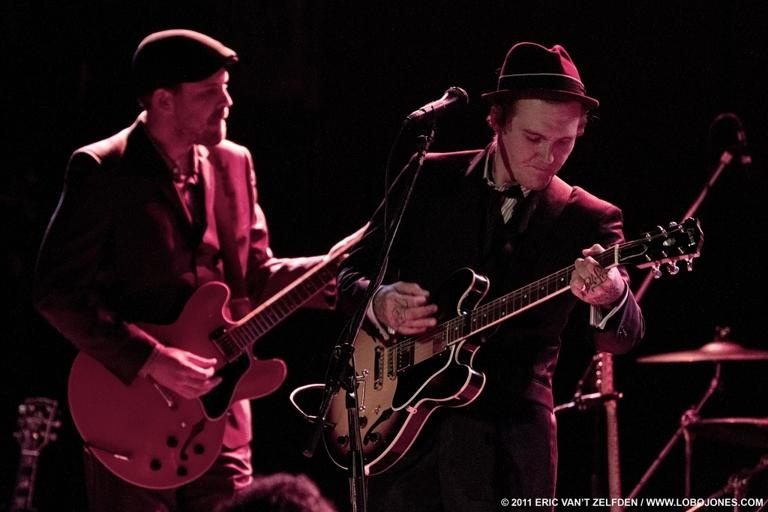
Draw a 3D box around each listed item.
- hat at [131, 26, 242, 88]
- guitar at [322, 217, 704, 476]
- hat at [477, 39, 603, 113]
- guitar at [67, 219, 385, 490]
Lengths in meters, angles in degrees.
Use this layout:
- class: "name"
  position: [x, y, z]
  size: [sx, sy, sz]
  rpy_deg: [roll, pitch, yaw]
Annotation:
- class: "hat"
  position: [-1.126, -1.119, 5.098]
  size: [0.453, 0.250, 0.344]
  rpy_deg: [-2, 4, -6]
- class: "guitar"
  position: [0.385, 0.509, 4.587]
  size: [2.398, 1.021, 0.281]
  rpy_deg: [-30, -25, 30]
- class: "hat"
  position: [0.832, -0.937, 4.702]
  size: [0.372, 0.214, 0.452]
  rpy_deg: [13, -11, -37]
- class: "guitar"
  position: [-0.803, 0.414, 5.495]
  size: [2.448, 0.960, 0.244]
  rpy_deg: [-40, 1, -43]
